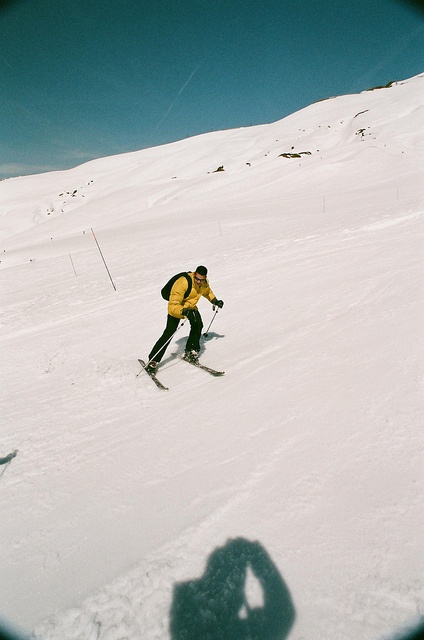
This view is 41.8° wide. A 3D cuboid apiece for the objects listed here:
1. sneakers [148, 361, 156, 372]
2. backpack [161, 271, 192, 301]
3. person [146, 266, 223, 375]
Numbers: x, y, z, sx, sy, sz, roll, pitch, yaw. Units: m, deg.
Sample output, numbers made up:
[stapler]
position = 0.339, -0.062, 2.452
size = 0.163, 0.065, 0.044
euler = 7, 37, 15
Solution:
[sneakers]
position = -0.728, 0.562, 6.784
size = 0.108, 0.110, 0.119
euler = -1, -8, -4
[backpack]
position = -0.434, -0.383, 6.716
size = 0.266, 0.251, 0.526
euler = -23, 11, -40
[person]
position = -0.299, -0.034, 6.853
size = 0.937, 1.309, 0.770
euler = -13, 33, -31
